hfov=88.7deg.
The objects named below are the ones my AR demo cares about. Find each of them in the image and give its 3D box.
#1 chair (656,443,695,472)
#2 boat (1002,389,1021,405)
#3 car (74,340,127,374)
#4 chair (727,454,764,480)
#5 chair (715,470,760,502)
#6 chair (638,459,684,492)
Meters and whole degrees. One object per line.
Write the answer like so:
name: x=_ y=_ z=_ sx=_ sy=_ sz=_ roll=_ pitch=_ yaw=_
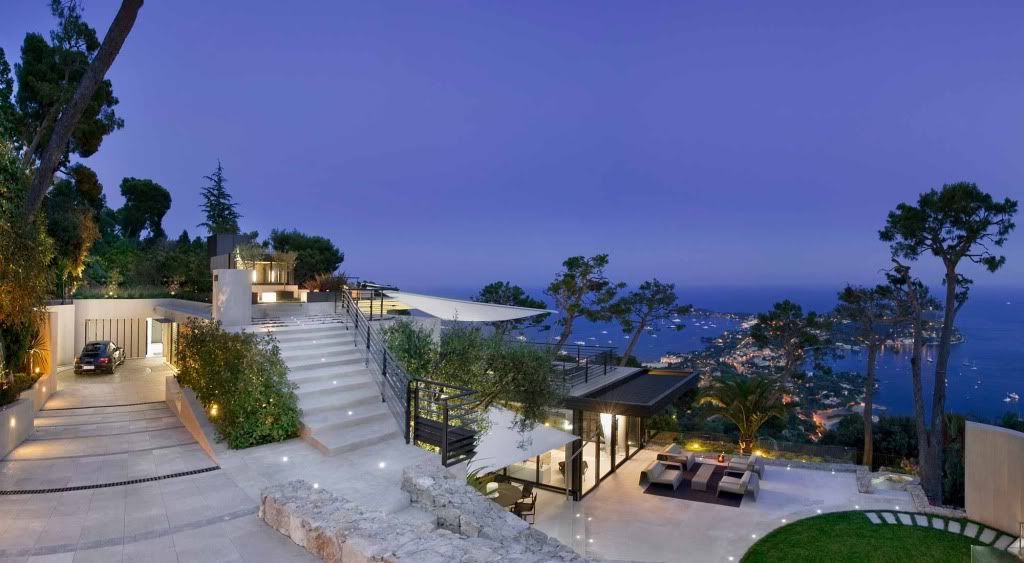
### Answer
chair: x=10.031 y=10.807 z=32.023 sx=1.464 sy=0.753 sz=1.937 roll=1 pitch=0 yaw=32
boat: x=48.653 y=11.427 z=51.052 sx=1.424 sy=0.496 sz=1.368 roll=-6 pitch=2 yaw=33
car: x=-24.703 y=4.581 z=31.444 sx=1.781 sy=1.783 sz=2.160 roll=1 pitch=0 yaw=-18
chair: x=13.774 y=11.208 z=31.008 sx=1.654 sy=0.718 sz=1.607 roll=-3 pitch=-4 yaw=28
chair: x=12.667 y=11.458 z=29.269 sx=1.712 sy=0.744 sz=1.553 roll=-2 pitch=0 yaw=26
chair: x=8.687 y=11.284 z=30.377 sx=1.914 sy=0.898 sz=1.727 roll=-6 pitch=2 yaw=35
